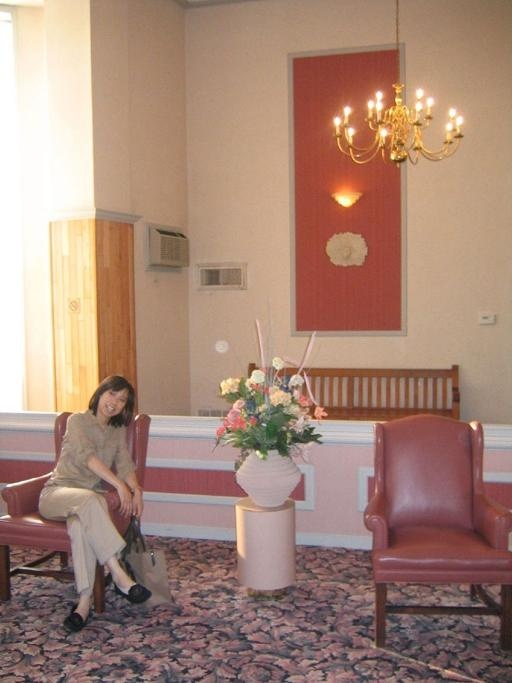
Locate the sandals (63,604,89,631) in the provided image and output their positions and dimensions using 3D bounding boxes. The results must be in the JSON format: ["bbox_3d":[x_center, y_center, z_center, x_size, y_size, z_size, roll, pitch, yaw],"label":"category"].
[{"bbox_3d":[-0.758,1.175,2.719,0.097,0.078,0.132,-2,1,-16],"label":"sandals"}]

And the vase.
[{"bbox_3d":[0.062,0.631,3.091,0.304,0.216,0.282,0,0,-1],"label":"vase"}]

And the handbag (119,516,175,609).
[{"bbox_3d":[-0.504,1.021,2.954,0.259,0.278,0.173,-1,1,42],"label":"handbag"}]

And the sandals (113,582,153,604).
[{"bbox_3d":[-0.544,1.116,2.848,0.189,0.054,0.074,-2,3,45],"label":"sandals"}]

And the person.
[{"bbox_3d":[-0.762,0.708,3.019,0.481,0.865,0.714,-2,1,-18],"label":"person"}]

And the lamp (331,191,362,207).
[{"bbox_3d":[0.869,-1.365,6.195,0.273,0.147,0.111,0,11,15],"label":"lamp"}]
